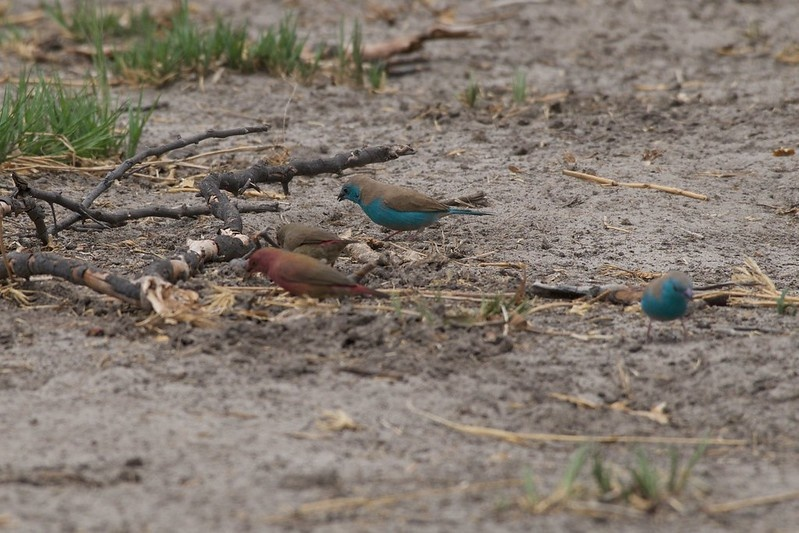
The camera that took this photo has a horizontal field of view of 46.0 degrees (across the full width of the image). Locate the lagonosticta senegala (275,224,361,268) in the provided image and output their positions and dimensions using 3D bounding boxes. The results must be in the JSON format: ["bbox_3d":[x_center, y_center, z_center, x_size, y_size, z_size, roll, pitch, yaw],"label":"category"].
[{"bbox_3d":[-0.701,-0.218,7.676,0.715,0.413,0.268,4,47,53],"label":"lagonosticta senegala"}]

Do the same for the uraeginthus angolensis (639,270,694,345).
[{"bbox_3d":[1.991,0.278,6.939,0.385,0.572,0.331,2,44,6],"label":"uraeginthus angolensis"}]

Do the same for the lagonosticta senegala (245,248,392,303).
[{"bbox_3d":[-0.698,0.105,7.146,1.105,0.321,0.209,16,47,22],"label":"lagonosticta senegala"}]
